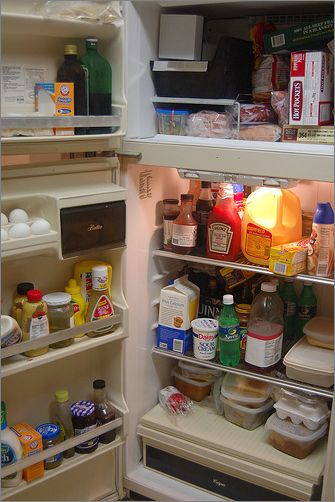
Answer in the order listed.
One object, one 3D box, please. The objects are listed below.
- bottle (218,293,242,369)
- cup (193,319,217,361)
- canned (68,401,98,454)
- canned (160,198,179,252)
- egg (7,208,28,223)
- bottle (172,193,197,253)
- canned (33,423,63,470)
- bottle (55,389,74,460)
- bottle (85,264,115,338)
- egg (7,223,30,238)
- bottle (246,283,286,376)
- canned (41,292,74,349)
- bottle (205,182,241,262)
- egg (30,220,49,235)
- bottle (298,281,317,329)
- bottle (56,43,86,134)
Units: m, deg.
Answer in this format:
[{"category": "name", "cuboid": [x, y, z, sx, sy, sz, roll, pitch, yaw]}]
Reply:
[{"category": "bottle", "cuboid": [0.226, 0.293, 1.397, 0.078, 0.266, 0.081, -3, 14, 1]}, {"category": "cup", "cuboid": [0.146, 0.336, 1.448, 0.115, 0.128, 0.117, 1, 8, 0]}, {"category": "canned", "cuboid": [-0.260, 0.563, 1.183, 0.078, 0.133, 0.077, 5, -9, -35]}, {"category": "canned", "cuboid": [0.034, -0.105, 1.425, 0.070, 0.190, 0.070, -10, 8, -35]}, {"category": "egg", "cuboid": [-0.341, -0.080, 0.867, 0.033, 0.040, 0.034, 3, 23, -13]}, {"category": "bottle", "cuboid": [0.059, -0.096, 1.367, 0.090, 0.216, 0.071, 0, 12, 3]}, {"category": "canned", "cuboid": [-0.342, 0.566, 1.079, 0.068, 0.105, 0.068, 3, -3, -20]}, {"category": "bottle", "cuboid": [-0.318, 0.533, 1.164, 0.082, 0.196, 0.044, 7, 12, 42]}, {"category": "bottle", "cuboid": [-0.193, 0.127, 1.146, 0.070, 0.174, 0.126, 9, 16, 39]}, {"category": "egg", "cuboid": [-0.325, -0.047, 0.846, 0.056, 0.030, 0.042, -14, 18, -42]}, {"category": "bottle", "cuboid": [0.344, 0.280, 1.350, 0.133, 0.268, 0.146, -1, 12, 0]}, {"category": "canned", "cuboid": [-0.303, 0.172, 1.049, 0.068, 0.098, 0.079, 6, 14, 28]}, {"category": "bottle", "cuboid": [0.191, -0.098, 1.296, 0.114, 0.263, 0.055, 0, 12, 8]}, {"category": "egg", "cuboid": [-0.295, -0.054, 0.875, 0.033, 0.022, 0.034, 16, 26, 8]}, {"category": "bottle", "cuboid": [0.522, 0.211, 1.428, 0.065, 0.179, 0.044, 3, 12, 18]}, {"category": "bottle", "cuboid": [-0.240, -0.422, 0.951, 0.072, 0.165, 0.119, -5, 13, -16]}]
